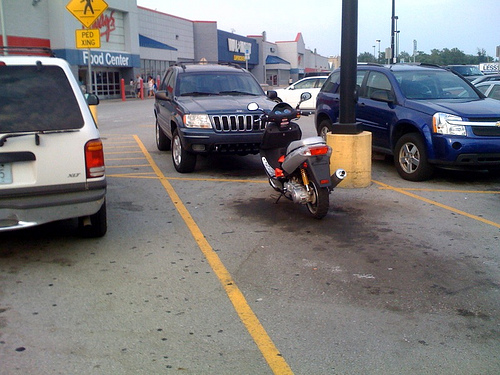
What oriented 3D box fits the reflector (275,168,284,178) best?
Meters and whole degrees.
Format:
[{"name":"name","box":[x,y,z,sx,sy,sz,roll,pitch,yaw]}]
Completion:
[{"name":"reflector","box":[0.466,-0.228,6.165,0.102,0.126,0.234,-3,14,-10]}]

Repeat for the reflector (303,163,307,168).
[{"name":"reflector","box":[0.812,-0.326,5.628,0.031,0.080,0.084,-9,16,-32]}]

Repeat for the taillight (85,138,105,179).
[{"name":"taillight","box":[-1.768,-0.327,4.383,0.204,0.205,0.377,-7,18,-23]}]

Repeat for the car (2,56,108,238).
[{"name":"car","box":[-2.421,-0.670,4.881,1.063,1.075,1.865,-8,20,-24]}]

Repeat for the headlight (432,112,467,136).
[{"name":"headlight","box":[3.804,-1.218,7.394,0.393,0.221,0.520,0,6,-11]}]

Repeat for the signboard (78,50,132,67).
[{"name":"signboard","box":[-14.527,-13.022,39.096,0.873,1.517,7.521,4,15,17]}]

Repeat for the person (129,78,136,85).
[{"name":"person","box":[-12.708,-11.448,41.846,0.470,0.586,0.946,-3,30,-10]}]

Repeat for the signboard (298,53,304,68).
[{"name":"signboard","box":[12.562,-30.929,94.132,0.743,3.392,5.268,3,14,15]}]

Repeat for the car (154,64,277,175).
[{"name":"car","box":[-1.061,-2.121,10.667,2.613,2.648,5.466,-5,17,-20]}]

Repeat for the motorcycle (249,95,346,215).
[{"name":"motorcycle","box":[0.672,-0.596,6.490,1.061,1.640,2.316,-9,19,-16]}]

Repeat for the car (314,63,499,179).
[{"name":"car","box":[3.940,-1.587,8.815,2.448,2.452,3.672,-9,17,-34]}]
